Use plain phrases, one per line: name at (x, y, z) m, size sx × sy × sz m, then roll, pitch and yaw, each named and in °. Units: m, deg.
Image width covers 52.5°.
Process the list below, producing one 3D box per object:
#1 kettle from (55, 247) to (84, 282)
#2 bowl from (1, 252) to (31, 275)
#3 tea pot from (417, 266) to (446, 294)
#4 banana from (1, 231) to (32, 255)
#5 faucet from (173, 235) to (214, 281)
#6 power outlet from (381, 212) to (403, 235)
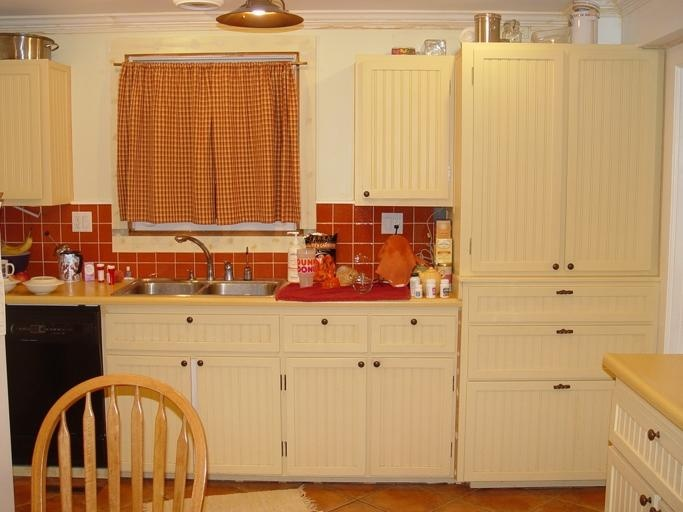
kettle at (-1.817, 0.049, 4.634) m, size 0.146 × 0.231 × 0.232 m, roll -2°, pitch 5°, yaw -4°
bowl at (-2.148, 0.043, 4.591) m, size 0.155 × 0.094 × 0.145 m, roll -1°, pitch 2°, yaw 0°
tea pot at (0.544, 0.149, 4.232) m, size 0.175 × 0.166 × 0.169 m, roll 0°, pitch 4°, yaw 0°
banana at (-2.172, -0.077, 4.638) m, size 0.191 × 0.138 × 0.235 m, roll -3°, pitch 5°, yaw -21°
faucet at (-0.970, 0.011, 4.581) m, size 0.238 × 0.296 × 0.239 m, roll -2°, pitch 5°, yaw -10°
power outlet at (0.333, -0.216, 4.674) m, size 0.178 × 0.133 × 0.161 m, roll 0°, pitch 5°, yaw 0°
